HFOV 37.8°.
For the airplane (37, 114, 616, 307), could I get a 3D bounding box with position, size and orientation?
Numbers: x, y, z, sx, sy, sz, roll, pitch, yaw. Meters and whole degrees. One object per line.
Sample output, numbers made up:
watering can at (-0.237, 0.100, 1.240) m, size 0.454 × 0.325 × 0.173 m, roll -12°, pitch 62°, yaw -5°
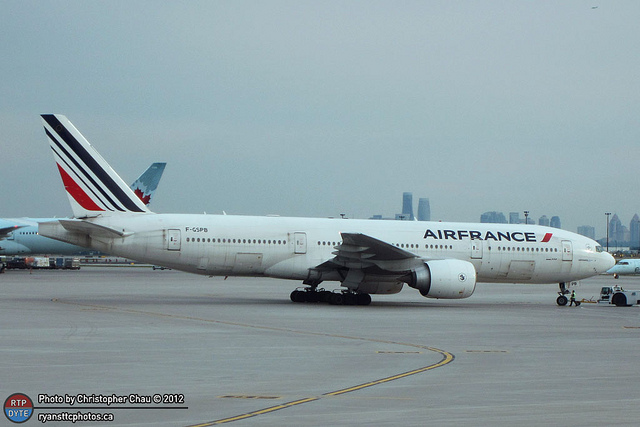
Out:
airplane at (-0.520, 1.813, 40.594) m, size 31.080 × 8.124 × 7.004 m, roll 0°, pitch -2°, yaw -8°
